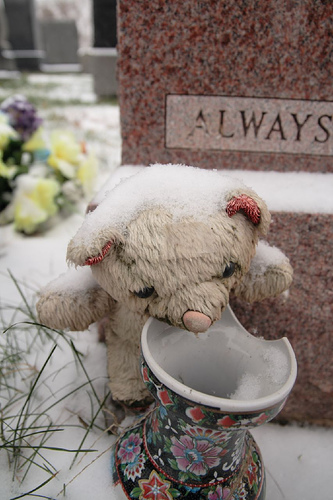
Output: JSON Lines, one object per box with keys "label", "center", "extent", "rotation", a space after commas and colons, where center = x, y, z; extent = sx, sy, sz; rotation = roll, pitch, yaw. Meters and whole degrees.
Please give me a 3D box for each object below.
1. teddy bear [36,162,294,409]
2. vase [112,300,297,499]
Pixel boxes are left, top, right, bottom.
{"label": "teddy bear", "center": [0.023, 0.019, 1.281], "extent": [0.621, 0.481, 0.538], "rotation": [-6, 24, -17]}
{"label": "vase", "center": [0.062, 0.309, 1.095], "extent": [0.327, 0.355, 0.281], "rotation": [-17, 40, -26]}
